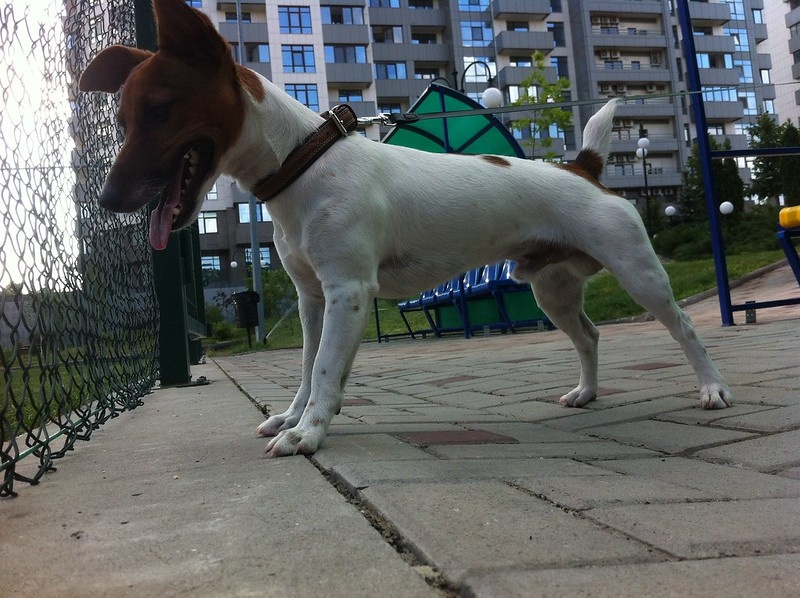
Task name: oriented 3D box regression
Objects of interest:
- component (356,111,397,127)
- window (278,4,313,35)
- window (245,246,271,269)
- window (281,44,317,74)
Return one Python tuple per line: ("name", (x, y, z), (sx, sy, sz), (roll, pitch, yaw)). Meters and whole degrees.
("component", (-0.105, -0.966, 3.027), (0.135, 0.061, 0.247), (-2, 2, -23))
("window", (-7.928, -20.755, 41.718), (2.433, 2.567, 0.123), (-2, -2, -4))
("window", (-9.033, -2.708, 35.926), (2.420, 1.738, 0.098), (-1, -12, 13))
("window", (-7.579, -17.607, 41.184), (2.312, 2.121, 0.094), (-1, -7, -13))
